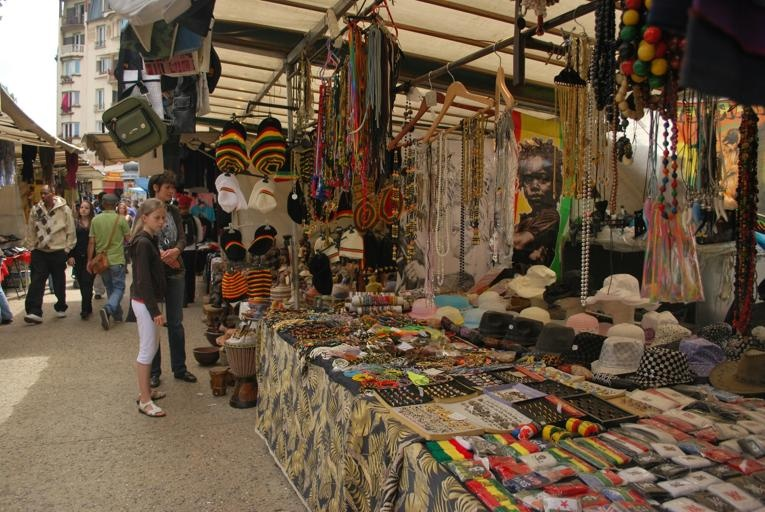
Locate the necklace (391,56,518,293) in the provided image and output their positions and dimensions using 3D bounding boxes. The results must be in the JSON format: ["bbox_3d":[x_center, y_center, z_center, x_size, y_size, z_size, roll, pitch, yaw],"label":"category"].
[{"bbox_3d":[0.690,-0.850,5.833,0.159,2.223,2.118,-8,13,-30],"label":"necklace"}]

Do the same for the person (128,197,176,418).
[{"bbox_3d":[-2.132,0.466,5.444,0.335,1.971,0.516,-3,11,-19],"label":"person"}]

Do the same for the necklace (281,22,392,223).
[{"bbox_3d":[-0.400,-1.206,5.238,0.464,1.742,1.534,-2,13,-29],"label":"necklace"}]

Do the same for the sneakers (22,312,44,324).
[{"bbox_3d":[-4.852,0.872,8.238,0.114,0.127,0.284,-5,-20,-6],"label":"sneakers"}]

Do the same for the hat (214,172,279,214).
[{"bbox_3d":[-1.605,-0.780,7.095,0.657,0.319,0.652,2,17,-14],"label":"hat"}]

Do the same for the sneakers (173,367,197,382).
[{"bbox_3d":[-2.091,1.271,6.352,0.310,0.122,0.113,2,2,13],"label":"sneakers"}]

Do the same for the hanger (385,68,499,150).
[{"bbox_3d":[0.537,-1.207,4.882,1.332,0.401,0.023,-22,21,-31],"label":"hanger"}]

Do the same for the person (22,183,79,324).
[{"bbox_3d":[-4.791,-0.021,8.540,0.536,1.956,0.999,2,11,5],"label":"person"}]

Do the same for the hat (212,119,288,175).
[{"bbox_3d":[-1.319,-1.146,6.108,0.724,0.581,0.523,1,11,0],"label":"hat"}]

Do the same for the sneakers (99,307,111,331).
[{"bbox_3d":[-3.785,0.866,8.119,0.120,0.306,0.131,-3,4,24],"label":"sneakers"}]

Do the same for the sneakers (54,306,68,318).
[{"bbox_3d":[-4.821,0.848,8.892,0.112,0.140,0.330,0,-6,-10],"label":"sneakers"}]

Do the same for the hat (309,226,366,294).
[{"bbox_3d":[-0.458,0.064,6.350,0.545,0.668,1.119,1,11,-2],"label":"hat"}]

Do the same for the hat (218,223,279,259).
[{"bbox_3d":[-1.495,-0.120,6.479,0.393,0.218,0.483,-14,41,-19],"label":"hat"}]

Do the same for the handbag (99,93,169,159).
[{"bbox_3d":[-2.212,-1.179,5.329,0.472,0.465,0.284,-26,28,3],"label":"handbag"}]

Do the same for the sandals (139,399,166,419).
[{"bbox_3d":[-2.136,1.426,5.504,0.260,0.103,0.129,1,1,24],"label":"sandals"}]

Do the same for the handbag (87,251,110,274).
[{"bbox_3d":[-3.941,0.075,8.239,0.320,0.311,0.139,-1,-3,32],"label":"handbag"}]
